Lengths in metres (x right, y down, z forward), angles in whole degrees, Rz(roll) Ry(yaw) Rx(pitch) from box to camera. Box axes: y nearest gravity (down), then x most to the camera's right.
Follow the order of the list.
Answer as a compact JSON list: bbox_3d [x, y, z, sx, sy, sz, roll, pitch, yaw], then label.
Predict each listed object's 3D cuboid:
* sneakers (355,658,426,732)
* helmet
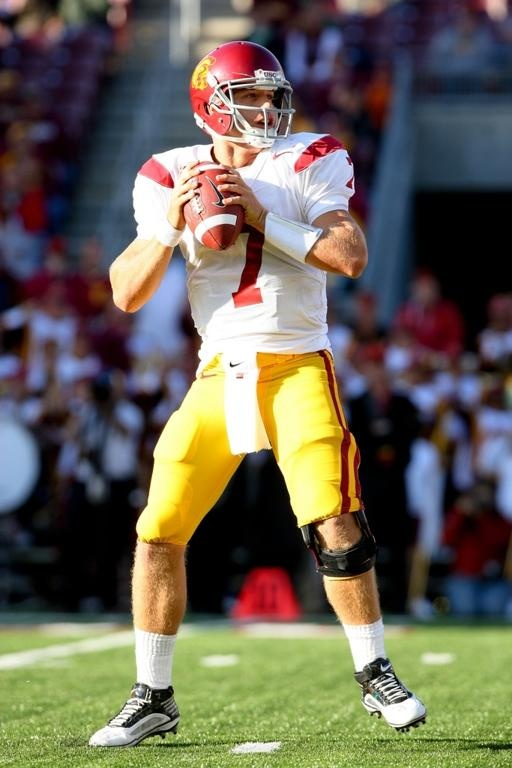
[{"bbox_3d":[0.270,0.631,1.648,0.076,0.134,0.150,-16,24,-18],"label":"sneakers"},{"bbox_3d":[0.033,-0.661,1.923,0.232,0.217,0.292,-6,16,-33],"label":"helmet"}]
